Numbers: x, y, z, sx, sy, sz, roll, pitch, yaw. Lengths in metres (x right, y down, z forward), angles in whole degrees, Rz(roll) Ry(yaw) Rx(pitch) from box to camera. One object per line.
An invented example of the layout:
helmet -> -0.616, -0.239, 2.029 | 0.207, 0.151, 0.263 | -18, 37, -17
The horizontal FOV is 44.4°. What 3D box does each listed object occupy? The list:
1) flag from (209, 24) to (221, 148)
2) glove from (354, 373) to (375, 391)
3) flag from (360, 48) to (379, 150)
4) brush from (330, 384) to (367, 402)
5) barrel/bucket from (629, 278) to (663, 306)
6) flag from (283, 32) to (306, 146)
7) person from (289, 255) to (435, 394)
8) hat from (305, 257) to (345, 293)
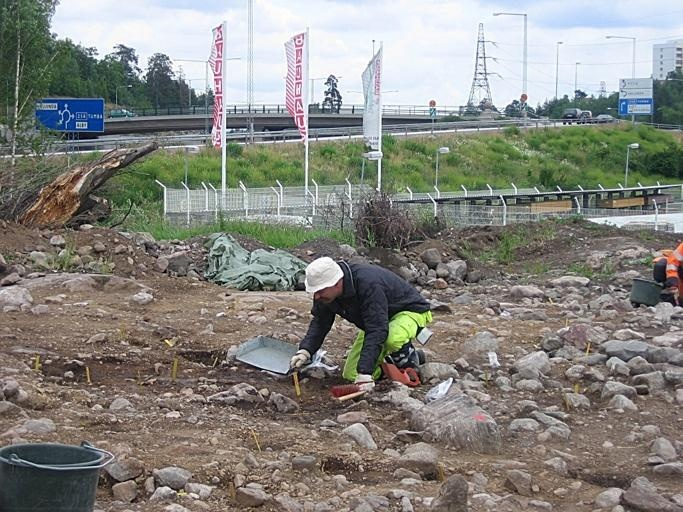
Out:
flag -> -3.471, -4.690, 23.077 | 0.350, 3.253, 1.444 | -1, 5, -9
glove -> 0.226, 1.278, 8.450 | 0.137, 0.139, 0.176 | 0, -2, 25
flag -> 0.970, -5.084, 27.222 | 0.584, 3.163, 1.648 | 0, 5, 2
brush -> 0.053, 1.383, 8.581 | 0.241, 0.117, 0.192 | -4, 4, -14
barrel/bucket -> 4.432, 0.518, 12.121 | 0.393, 0.379, 0.350 | 6, -8, 5
flag -> -1.377, -5.069, 24.976 | 0.651, 3.134, 1.119 | 0, 5, -4
person -> 0.272, 0.762, 9.069 | 1.572, 1.454, 1.046 | -2, -2, -38
hat -> -0.198, 0.182, 8.524 | 0.410, 0.229, 0.386 | -13, 20, 10
